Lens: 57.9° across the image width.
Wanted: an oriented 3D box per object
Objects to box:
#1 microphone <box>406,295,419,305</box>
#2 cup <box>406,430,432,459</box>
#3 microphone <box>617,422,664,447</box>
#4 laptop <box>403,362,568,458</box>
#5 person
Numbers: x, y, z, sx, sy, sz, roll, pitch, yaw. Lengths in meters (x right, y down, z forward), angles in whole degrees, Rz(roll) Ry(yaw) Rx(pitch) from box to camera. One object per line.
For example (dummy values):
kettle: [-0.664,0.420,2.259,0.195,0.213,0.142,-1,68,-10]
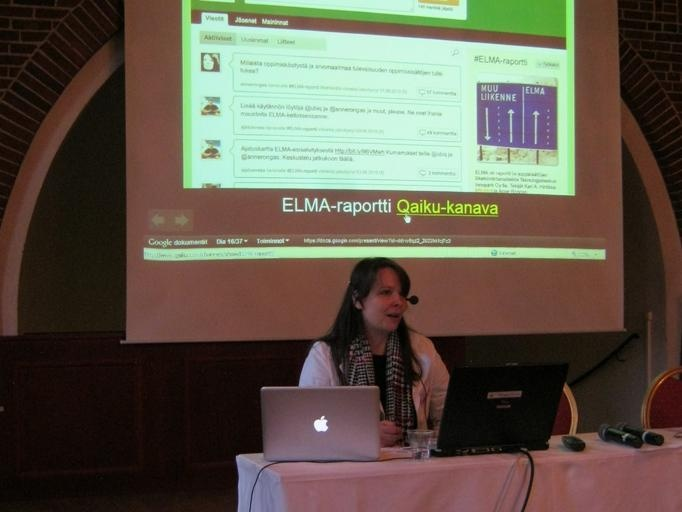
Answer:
microphone: [0.382,0.235,3.271,0.060,0.050,0.113,0,-5,-21]
cup: [0.322,0.780,2.564,0.095,0.113,0.101,0,-6,0]
microphone: [1.324,0.780,2.748,0.060,0.070,0.270,3,-3,-12]
laptop: [0.608,0.570,2.510,0.552,0.431,0.551,-4,-31,25]
person: [0.190,0.606,3.303,0.784,1.145,0.555,-1,-18,-13]
